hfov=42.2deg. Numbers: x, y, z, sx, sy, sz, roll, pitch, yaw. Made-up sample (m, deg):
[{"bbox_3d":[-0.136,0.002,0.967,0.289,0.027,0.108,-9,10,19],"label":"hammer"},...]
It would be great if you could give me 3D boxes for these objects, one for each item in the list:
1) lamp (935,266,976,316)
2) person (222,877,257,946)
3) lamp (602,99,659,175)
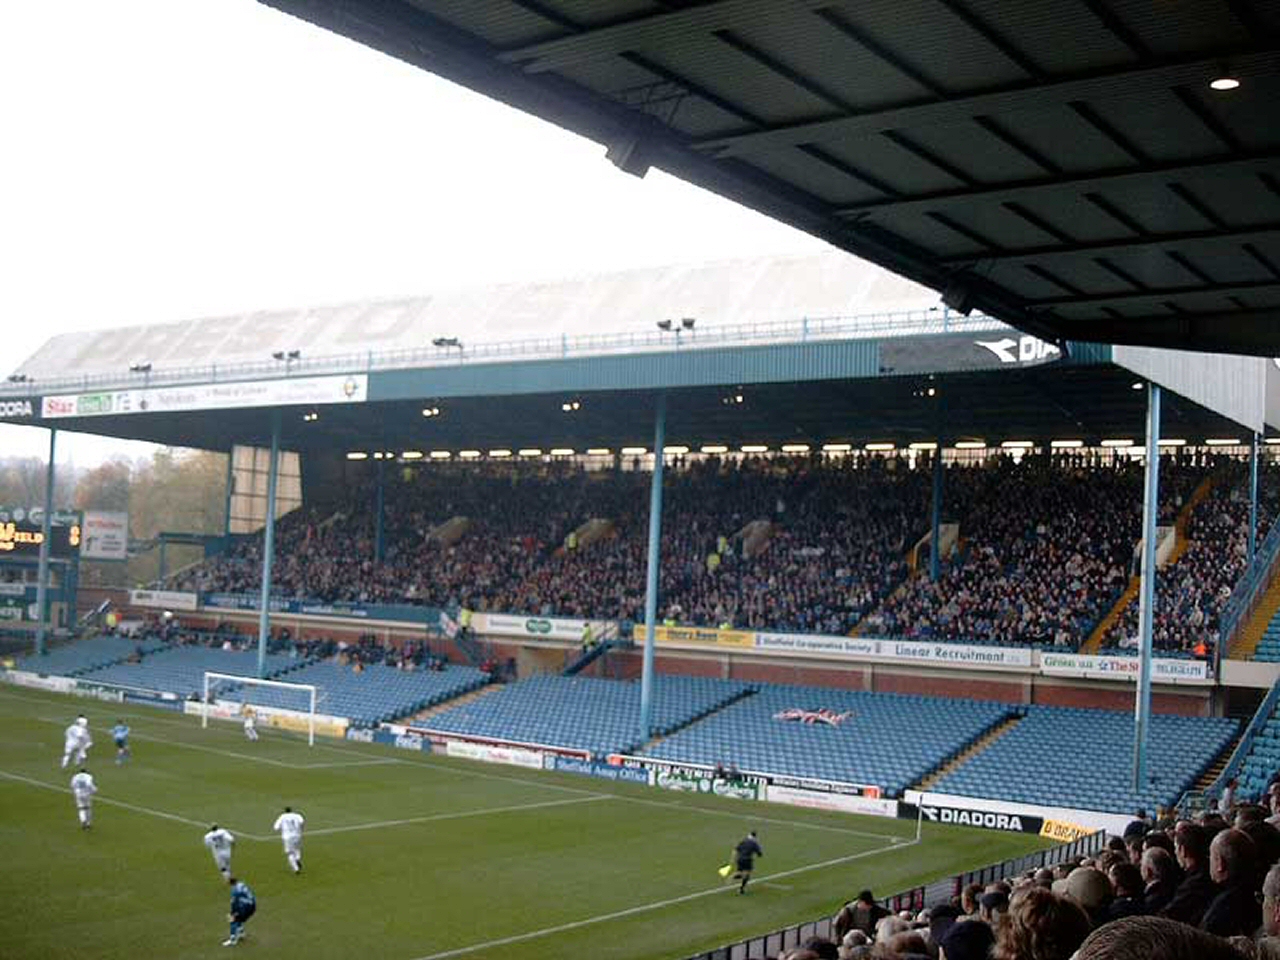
[{"bbox_3d":[6.312,-3.700,33.896,0.770,0.776,0.202,26,-28,-38],"label":"lamp"},{"bbox_3d":[-8.736,9.122,36.134,0.657,1.330,1.659,-2,5,-14],"label":"person"},{"bbox_3d":[-0.182,-5.756,28.980,0.832,0.928,0.362,-2,5,-13],"label":"lamp"}]
